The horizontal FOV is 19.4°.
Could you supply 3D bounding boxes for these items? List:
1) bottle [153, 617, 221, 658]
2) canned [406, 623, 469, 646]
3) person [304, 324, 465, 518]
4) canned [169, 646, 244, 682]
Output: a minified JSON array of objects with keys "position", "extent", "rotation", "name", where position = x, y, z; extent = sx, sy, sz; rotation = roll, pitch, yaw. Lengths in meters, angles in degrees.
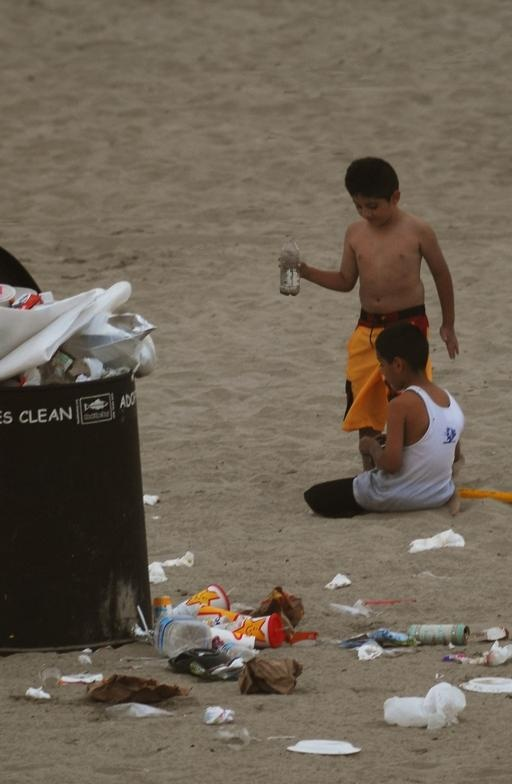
[{"position":[-0.226,0.741,4.587],"extent":[0.146,0.126,0.194],"rotation":[7,-1,-23],"name":"bottle"},{"position":[0.562,0.740,4.651],"extent":[0.168,0.061,0.076],"rotation":[1,-3,15],"name":"canned"},{"position":[0.567,0.117,6.269],"extent":[0.669,0.752,0.608],"rotation":[1,7,28],"name":"person"},{"position":[-0.149,0.813,4.495],"extent":[0.214,0.064,0.104],"rotation":[-3,12,-1],"name":"canned"}]
